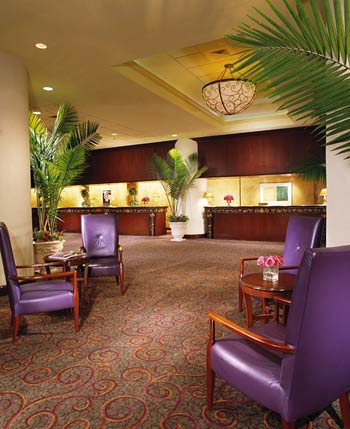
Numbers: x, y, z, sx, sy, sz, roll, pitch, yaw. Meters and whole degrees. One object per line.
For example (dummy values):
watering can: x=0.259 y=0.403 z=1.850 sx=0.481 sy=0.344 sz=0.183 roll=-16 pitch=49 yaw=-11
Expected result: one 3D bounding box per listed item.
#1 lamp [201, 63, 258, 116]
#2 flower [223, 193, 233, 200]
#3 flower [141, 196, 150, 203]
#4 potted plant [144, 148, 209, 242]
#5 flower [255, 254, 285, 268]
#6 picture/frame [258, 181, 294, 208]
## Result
lamp: x=1.191 y=-2.770 z=7.078 sx=1.256 sy=1.004 sz=1.212 roll=-3 pitch=7 yaw=-4
flower: x=1.794 y=-0.581 z=10.675 sx=0.222 sy=0.192 sz=0.233 roll=-1 pitch=-1 yaw=3
flower: x=-1.090 y=-0.551 z=12.171 sx=0.282 sy=0.275 sz=0.345 roll=-9 pitch=-5 yaw=-13
potted plant: x=0.162 y=-0.625 z=10.319 sx=1.581 sy=2.856 sz=1.517 roll=-2 pitch=2 yaw=5
flower: x=0.786 y=0.377 z=2.578 sx=0.158 sy=0.075 sz=0.174 roll=-2 pitch=3 yaw=5
picture/frame: x=3.525 y=-0.696 z=10.968 sx=1.054 sy=0.723 sz=0.036 roll=3 pitch=8 yaw=32
